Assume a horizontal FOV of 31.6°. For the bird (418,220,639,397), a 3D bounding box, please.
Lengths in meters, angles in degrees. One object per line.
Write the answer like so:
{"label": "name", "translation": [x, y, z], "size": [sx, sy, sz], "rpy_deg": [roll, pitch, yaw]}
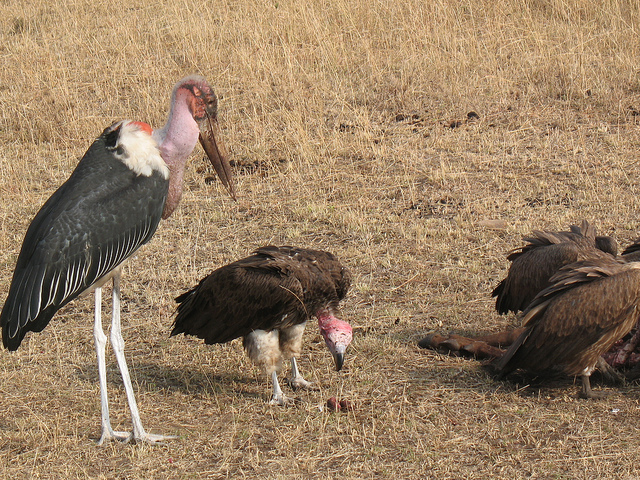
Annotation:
{"label": "bird", "translation": [2.284, 0.633, 10.622], "size": [1.239, 1.178, 1.376], "rpy_deg": [13, 23, 8]}

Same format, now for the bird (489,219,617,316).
{"label": "bird", "translation": [2.422, 0.251, 10.975], "size": [1.322, 0.520, 0.654], "rpy_deg": [-12, 9, -17]}

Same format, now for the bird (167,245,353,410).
{"label": "bird", "translation": [-0.552, 0.748, 10.909], "size": [2.081, 1.326, 1.106], "rpy_deg": [12, 12, 38]}
